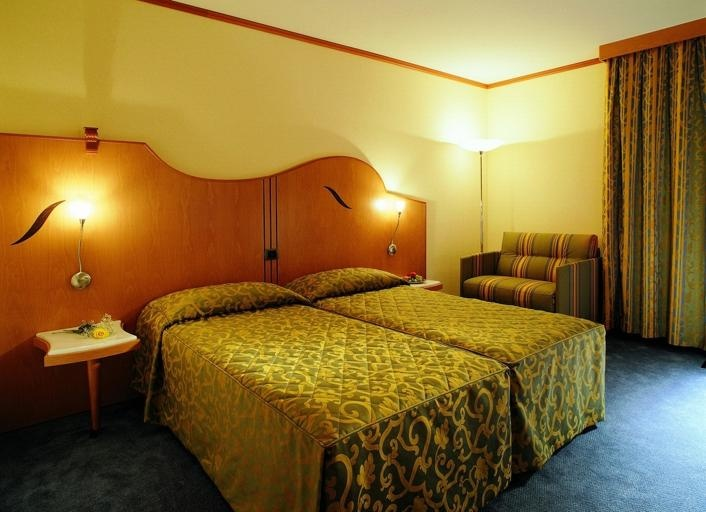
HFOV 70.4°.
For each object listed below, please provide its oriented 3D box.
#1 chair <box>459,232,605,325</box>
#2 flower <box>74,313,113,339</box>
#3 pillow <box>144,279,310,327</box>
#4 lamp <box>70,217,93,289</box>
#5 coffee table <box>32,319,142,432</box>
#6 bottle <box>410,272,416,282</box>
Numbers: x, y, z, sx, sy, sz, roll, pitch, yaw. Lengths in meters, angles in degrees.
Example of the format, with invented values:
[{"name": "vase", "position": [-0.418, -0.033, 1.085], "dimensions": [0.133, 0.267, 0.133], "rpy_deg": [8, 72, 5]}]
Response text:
[{"name": "chair", "position": [1.874, 0.227, 5.361], "dimensions": [0.844, 0.988, 1.193], "rpy_deg": [-2, 5, -34]}, {"name": "flower", "position": [-1.810, 0.478, 3.514], "dimensions": [0.156, 0.103, 0.234], "rpy_deg": [3, 0, -23]}, {"name": "pillow", "position": [-0.974, 0.335, 3.784], "dimensions": [0.752, 0.186, 0.441], "rpy_deg": [-1, 1, -36]}, {"name": "lamp", "position": [-1.979, -0.015, 3.631], "dimensions": [0.133, 0.524, 0.057], "rpy_deg": [-2, 6, -33]}, {"name": "coffee table", "position": [-1.821, 0.906, 3.517], "dimensions": [0.541, 0.707, 0.706], "rpy_deg": [7, 8, 34]}, {"name": "bottle", "position": [0.620, 0.223, 5.290], "dimensions": [0.068, 0.073, 0.067], "rpy_deg": [-11, 47, 5]}]
